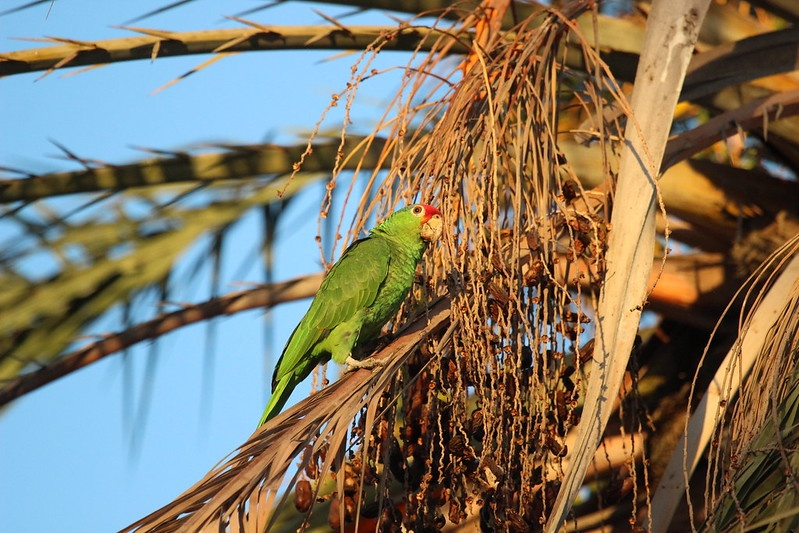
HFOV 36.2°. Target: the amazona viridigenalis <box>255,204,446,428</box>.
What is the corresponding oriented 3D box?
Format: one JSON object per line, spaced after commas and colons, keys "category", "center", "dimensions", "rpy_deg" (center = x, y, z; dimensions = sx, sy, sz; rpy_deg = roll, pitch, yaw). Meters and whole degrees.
{"category": "amazona viridigenalis", "center": [-0.201, 0.345, 6.809], "dimensions": [1.188, 1.114, 0.586], "rpy_deg": [-16, -30, 38]}
